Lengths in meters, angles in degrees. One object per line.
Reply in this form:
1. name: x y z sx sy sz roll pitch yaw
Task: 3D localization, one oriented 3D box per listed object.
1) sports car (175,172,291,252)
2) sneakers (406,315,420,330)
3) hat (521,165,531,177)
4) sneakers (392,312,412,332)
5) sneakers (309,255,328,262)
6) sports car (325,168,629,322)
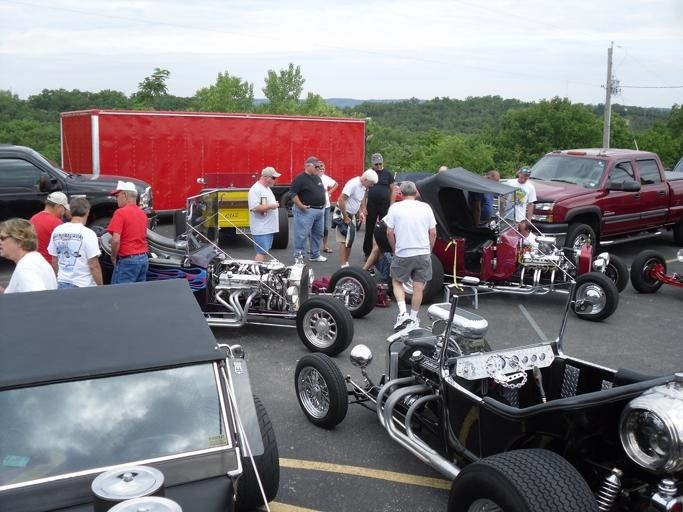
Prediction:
1. sports car: -2.170 -0.966 12.560 1.500 1.128 2.421 0 3 -4
2. sneakers: 0.674 0.639 5.739 0.121 0.165 0.347 -3 -8 16
3. hat: 3.522 -1.603 11.308 0.264 0.215 0.227 0 5 10
4. sneakers: 0.685 0.729 6.608 0.194 0.234 0.500 0 -8 -13
5. sneakers: -0.473 0.039 12.425 0.314 0.143 0.133 -1 9 3
6. sports car: 2.655 -0.218 9.779 3.702 2.047 1.947 6 7 31
